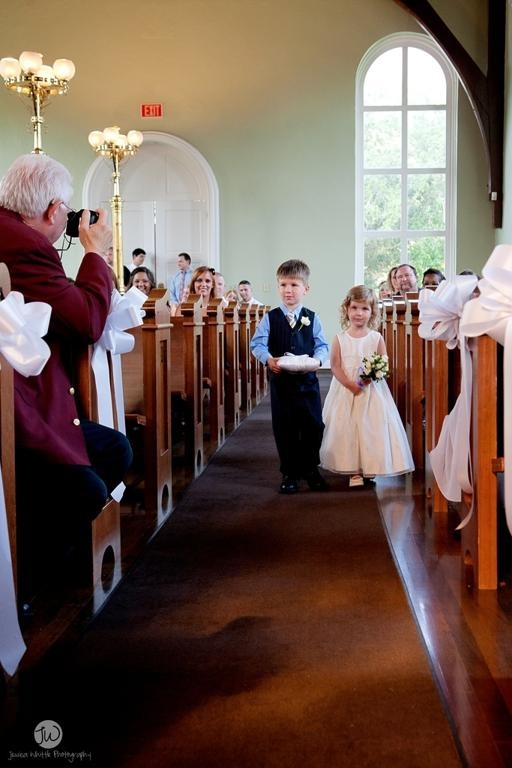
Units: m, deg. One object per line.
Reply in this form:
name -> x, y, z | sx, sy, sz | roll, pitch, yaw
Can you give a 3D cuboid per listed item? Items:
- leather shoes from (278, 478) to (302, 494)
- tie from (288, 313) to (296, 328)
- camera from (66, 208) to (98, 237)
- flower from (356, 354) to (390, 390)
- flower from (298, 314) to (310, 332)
leather shoes -> 0.177, 0.531, 2.929 | 0.107, 0.074, 0.132 | -1, -2, 3
tie -> 0.207, -0.336, 2.995 | 0.054, 0.064, 0.014 | 2, -5, 0
camera -> -0.575, -0.528, 1.854 | 0.097, 0.105, 0.111 | -1, 11, -21
flower -> 0.616, -0.071, 2.949 | 0.156, 0.171, 0.154 | -12, -32, 28
flower -> 0.256, -0.327, 2.990 | 0.066, 0.117, 0.061 | 1, -3, -10
